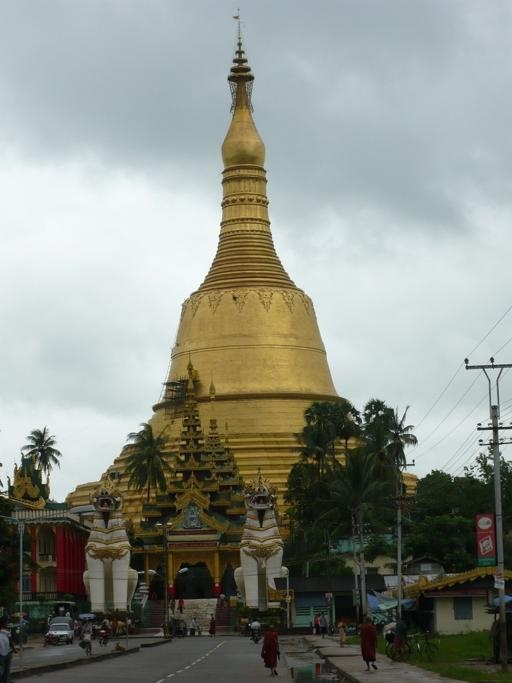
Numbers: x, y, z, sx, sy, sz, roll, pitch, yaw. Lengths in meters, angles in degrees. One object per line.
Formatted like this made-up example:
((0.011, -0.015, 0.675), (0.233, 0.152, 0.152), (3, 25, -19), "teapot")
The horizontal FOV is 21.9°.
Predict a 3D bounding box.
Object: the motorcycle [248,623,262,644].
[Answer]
((-0.074, 9.606, 44.447), (0.615, 0.685, 1.153), (0, -18, -3), "motorcycle")

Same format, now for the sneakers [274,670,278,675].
((0.370, 6.631, 26.840), (0.058, 0.109, 0.155), (-1, -23, -2), "sneakers")

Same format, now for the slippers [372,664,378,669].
((2.330, 6.384, 26.327), (0.152, 0.053, 0.203), (2, -10, 3), "slippers")
